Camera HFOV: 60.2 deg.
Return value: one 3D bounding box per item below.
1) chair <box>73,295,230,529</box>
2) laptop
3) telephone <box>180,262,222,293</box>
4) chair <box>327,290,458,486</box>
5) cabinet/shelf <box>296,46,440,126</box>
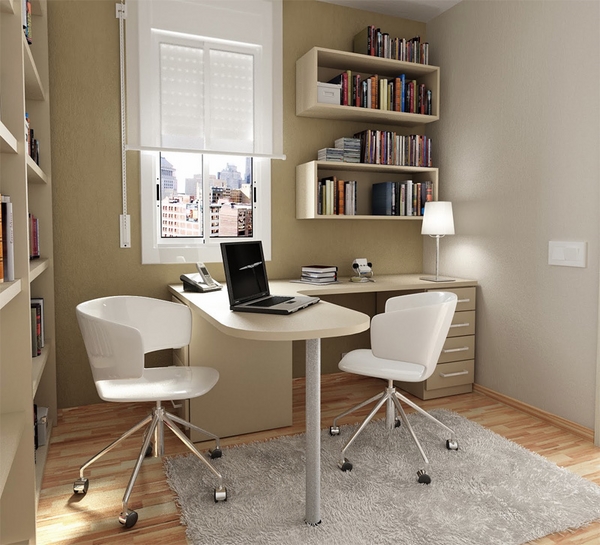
[{"bbox_3d":[-0.715,0.622,2.580,0.677,0.969,0.745,-1,4,7],"label":"chair"},{"bbox_3d":[-0.156,0.005,2.602,0.369,0.331,0.462,1,5,14],"label":"laptop"},{"bbox_3d":[-0.636,0.054,3.267,0.172,0.083,0.234,0,17,-36],"label":"telephone"},{"bbox_3d":[0.545,0.565,2.978,0.671,1.015,0.807,3,9,0],"label":"chair"},{"bbox_3d":[0.514,-1.405,3.980,1.094,0.460,0.396,-4,10,-20],"label":"cabinet/shelf"}]
